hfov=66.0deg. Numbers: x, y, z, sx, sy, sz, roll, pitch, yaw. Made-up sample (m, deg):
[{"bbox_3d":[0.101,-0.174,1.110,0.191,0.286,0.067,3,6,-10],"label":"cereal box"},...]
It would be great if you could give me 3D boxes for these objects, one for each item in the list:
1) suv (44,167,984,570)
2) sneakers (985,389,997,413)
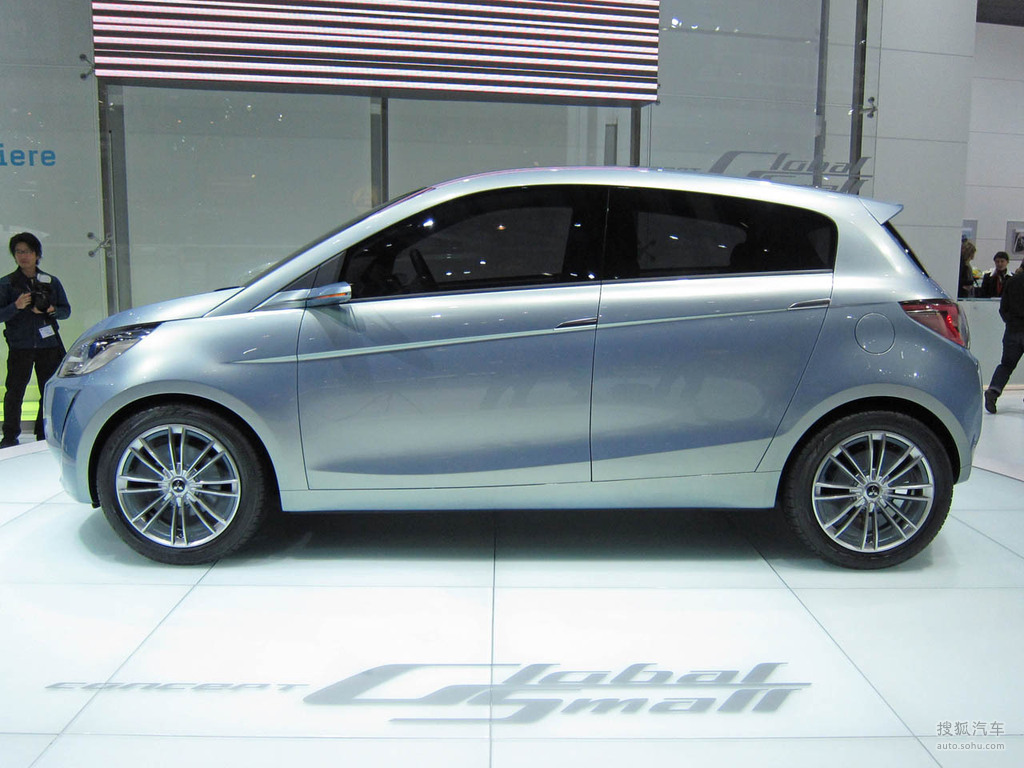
[{"bbox_3d":[0.030,-0.123,4.967,4.556,1.929,2.106,1,0,0],"label":"suv"},{"bbox_3d":[5.385,0.183,8.842,0.105,0.229,0.289,7,17,26],"label":"sneakers"}]
